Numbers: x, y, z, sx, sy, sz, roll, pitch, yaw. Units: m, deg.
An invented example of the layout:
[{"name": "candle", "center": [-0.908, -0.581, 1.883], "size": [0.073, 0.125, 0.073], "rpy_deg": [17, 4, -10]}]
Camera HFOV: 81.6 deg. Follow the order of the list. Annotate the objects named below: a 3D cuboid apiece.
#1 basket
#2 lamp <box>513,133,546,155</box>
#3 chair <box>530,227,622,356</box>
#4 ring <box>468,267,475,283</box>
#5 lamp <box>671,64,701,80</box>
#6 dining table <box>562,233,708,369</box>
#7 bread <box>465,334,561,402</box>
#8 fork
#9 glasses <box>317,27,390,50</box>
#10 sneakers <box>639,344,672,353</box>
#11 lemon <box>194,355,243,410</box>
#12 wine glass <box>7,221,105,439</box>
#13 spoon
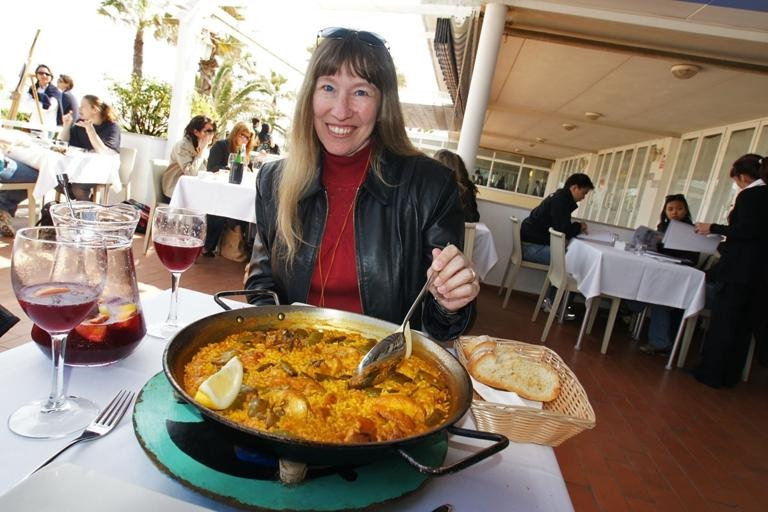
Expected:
[{"name": "basket", "center": [0.424, 0.415, 1.348], "size": [0.343, 0.132, 0.437], "rpy_deg": [1, 26, -5]}, {"name": "lamp", "center": [5.735, -4.381, 17.357], "size": [1.220, 0.314, 1.125], "rpy_deg": [4, -14, 9]}, {"name": "chair", "center": [2.245, 0.350, 5.118], "size": [0.913, 1.212, 0.868], "rpy_deg": [7, 13, -7]}, {"name": "ring", "center": [0.284, 0.061, 1.459], "size": [0.014, 0.035, 0.027], "rpy_deg": [-9, -5, 31]}, {"name": "lamp", "center": [4.134, -2.535, 6.130], "size": [0.394, 0.170, 0.201], "rpy_deg": [6, 11, -7]}, {"name": "dining table", "center": [2.591, 0.325, 4.893], "size": [1.193, 0.742, 1.238], "rpy_deg": [24, -1, -13]}, {"name": "bread", "center": [0.380, 0.348, 1.353], "size": [0.259, 0.061, 0.148], "rpy_deg": [22, 45, 6]}, {"name": "fork", "center": [-0.666, 0.383, 1.043], "size": [0.050, 0.050, 0.366], "rpy_deg": [22, 38, 22]}, {"name": "glasses", "center": [-0.138, -0.943, 1.939], "size": [0.303, 0.067, 0.070], "rpy_deg": [7, 11, -2]}, {"name": "sneakers", "center": [3.095, 1.035, 5.052], "size": [0.294, 0.120, 0.107], "rpy_deg": [2, 10, 6]}, {"name": "lemon", "center": [-0.408, 0.318, 1.123], "size": [0.084, 0.065, 0.146], "rpy_deg": [7, 25, 11]}, {"name": "wine glass", "center": [-0.784, 0.160, 1.076], "size": [0.190, 0.455, 0.285], "rpy_deg": [1, 13, -31]}, {"name": "spoon", "center": [0.066, 0.189, 1.339], "size": [0.107, 0.061, 0.454], "rpy_deg": [34, 48, 1]}]
